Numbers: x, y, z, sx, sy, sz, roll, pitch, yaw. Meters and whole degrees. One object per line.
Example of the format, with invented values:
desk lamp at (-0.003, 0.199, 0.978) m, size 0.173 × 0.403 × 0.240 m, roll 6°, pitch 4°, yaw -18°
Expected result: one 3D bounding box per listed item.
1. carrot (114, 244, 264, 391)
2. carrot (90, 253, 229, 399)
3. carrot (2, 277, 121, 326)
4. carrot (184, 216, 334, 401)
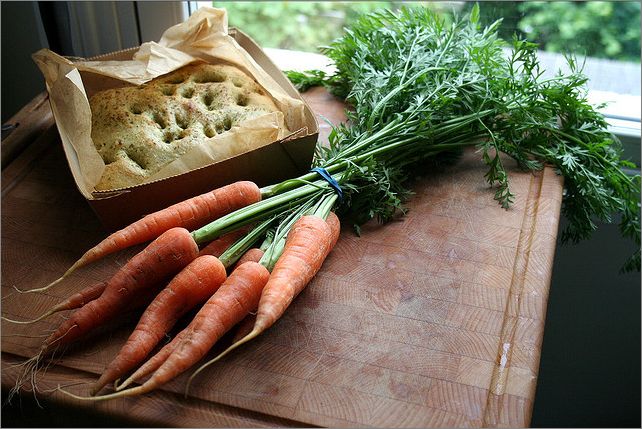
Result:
carrot at (-0.344, 0.277, 1.236) m, size 0.086 × 0.107 × 0.407 m, roll 39°, pitch 63°, yaw 13°
carrot at (-0.372, 0.231, 1.315) m, size 0.128 × 0.136 × 0.552 m, roll 44°, pitch 67°, yaw 0°
carrot at (-0.694, 0.234, 1.273) m, size 0.221 × 0.054 × 0.038 m, roll -22°, pitch 93°, yaw -5°
carrot at (-0.061, 0.145, 1.391) m, size 0.169 × 0.166 × 0.752 m, roll 21°, pitch 57°, yaw 31°
